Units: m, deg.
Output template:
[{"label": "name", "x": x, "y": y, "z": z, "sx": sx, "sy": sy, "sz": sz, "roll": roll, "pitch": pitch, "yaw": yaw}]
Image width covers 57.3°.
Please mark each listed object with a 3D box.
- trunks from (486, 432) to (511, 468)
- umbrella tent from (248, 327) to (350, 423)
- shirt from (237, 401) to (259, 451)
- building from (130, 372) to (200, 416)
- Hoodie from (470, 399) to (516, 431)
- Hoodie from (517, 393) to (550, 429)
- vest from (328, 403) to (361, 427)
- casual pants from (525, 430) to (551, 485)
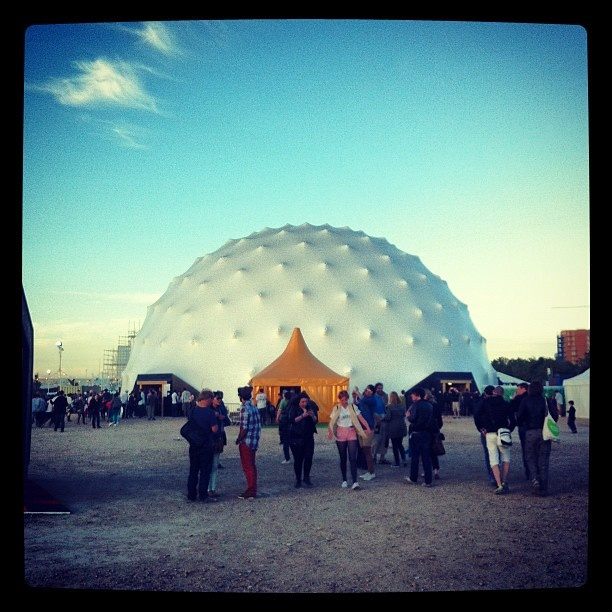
[{"label": "trunks", "x": 2.699, "y": 2.023, "z": 7.915, "sx": 0.310, "sy": 0.484, "sz": 0.391, "roll": -4, "pitch": -8, "yaw": 18}, {"label": "umbrella tent", "x": -0.371, "y": 2.487, "z": 21.119, "sx": 3.128, "sy": 3.370, "sz": 3.442, "roll": 1, "pitch": -11, "yaw": 3}, {"label": "shirt", "x": -0.799, "y": 1.653, "z": 7.813, "sx": 0.291, "sy": 0.664, "sz": 0.301, "roll": 0, "pitch": -7, "yaw": -10}, {"label": "building", "x": -7.454, "y": 4.674, "z": 28.196, "sx": 1.902, "sy": 2.566, "sz": 2.980, "roll": -3, "pitch": -5, "yaw": 18}, {"label": "Hoodie", "x": 2.638, "y": 1.515, "z": 7.901, "sx": 0.580, "sy": 0.724, "sz": 0.405, "roll": 0, "pitch": 0, "yaw": 15}, {"label": "Hoodie", "x": 3.085, "y": 1.375, "z": 7.763, "sx": 0.504, "sy": 0.657, "sz": 0.343, "roll": -2, "pitch": -6, "yaw": 36}, {"label": "vest", "x": 0.566, "y": 1.687, "z": 8.496, "sx": 0.412, "sy": 0.434, "sz": 0.277, "roll": 1, "pitch": -17, "yaw": -5}, {"label": "casual pants", "x": 3.150, "y": 2.091, "z": 7.631, "sx": 0.312, "sy": 0.820, "sz": 0.399, "roll": -4, "pitch": -8, "yaw": 23}]
